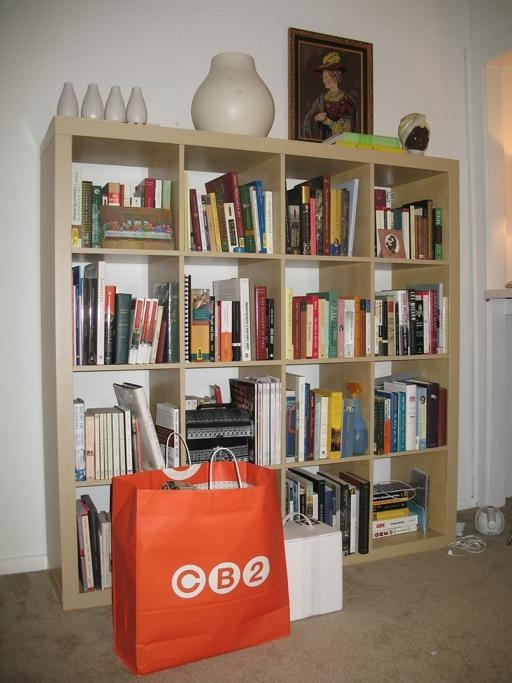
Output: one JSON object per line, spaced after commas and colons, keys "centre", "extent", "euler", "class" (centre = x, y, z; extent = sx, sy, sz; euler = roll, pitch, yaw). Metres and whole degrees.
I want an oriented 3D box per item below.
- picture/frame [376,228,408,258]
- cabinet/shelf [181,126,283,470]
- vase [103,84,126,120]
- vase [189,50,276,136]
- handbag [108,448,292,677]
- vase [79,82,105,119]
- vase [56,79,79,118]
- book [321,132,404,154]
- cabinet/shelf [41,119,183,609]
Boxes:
{"centre": [0.531, -0.385, 2.329], "extent": [0.113, 0.124, 0.027], "euler": [-2, 1, -34], "class": "picture/frame"}
{"centre": [-0.104, -0.127, 2.134], "extent": [0.370, 1.133, 0.389], "euler": [-1, 1, -13], "class": "cabinet/shelf"}
{"centre": [-0.464, -0.778, 1.931], "extent": [0.069, 0.162, 0.149], "euler": [-1, 1, -15], "class": "vase"}
{"centre": [-0.075, -0.847, 2.144], "extent": [0.283, 0.338, 0.291], "euler": [11, 21, 40], "class": "vase"}
{"centre": [-0.142, 0.590, 1.508], "extent": [0.484, 0.605, 0.213], "euler": [-2, -1, -27], "class": "handbag"}
{"centre": [-0.529, -0.771, 1.895], "extent": [0.060, 0.119, 0.035], "euler": [-1, 1, -21], "class": "vase"}
{"centre": [-0.593, -0.761, 1.852], "extent": [0.059, 0.133, 0.077], "euler": [-1, 1, -20], "class": "vase"}
{"centre": [0.427, -0.761, 2.248], "extent": [0.161, 0.037, 0.154], "euler": [-3, 9, -33], "class": "book"}
{"centre": [-0.444, 0.052, 2.135], "extent": [0.431, 1.601, 0.404], "euler": [-4, 18, -18], "class": "cabinet/shelf"}
